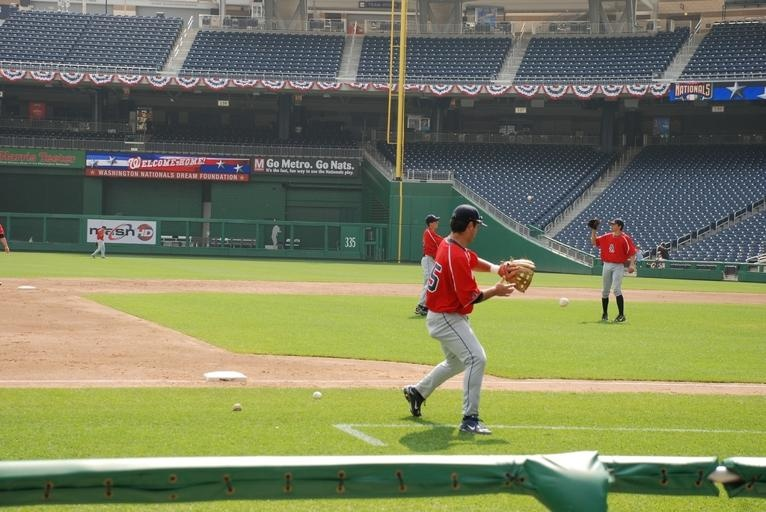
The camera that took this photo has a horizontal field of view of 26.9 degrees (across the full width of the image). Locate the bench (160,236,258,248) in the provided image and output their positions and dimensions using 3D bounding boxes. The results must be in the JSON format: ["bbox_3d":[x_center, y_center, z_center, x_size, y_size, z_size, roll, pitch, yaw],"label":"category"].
[{"bbox_3d":[-11.493,-0.970,102.724,6.103,0.702,0.574,-2,1,0],"label":"bench"}]

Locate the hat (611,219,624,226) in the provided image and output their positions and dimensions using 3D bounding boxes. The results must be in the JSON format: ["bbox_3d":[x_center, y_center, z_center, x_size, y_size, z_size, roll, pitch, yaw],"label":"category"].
[{"bbox_3d":[11.649,-1.694,79.525,0.521,0.433,1.128,2,10,5],"label":"hat"}]

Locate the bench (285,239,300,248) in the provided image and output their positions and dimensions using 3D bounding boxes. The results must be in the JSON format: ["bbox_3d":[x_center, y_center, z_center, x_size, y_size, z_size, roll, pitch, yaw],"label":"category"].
[{"bbox_3d":[-5.848,-0.851,104.113,0.760,0.583,0.670,0,-13,-3],"label":"bench"}]

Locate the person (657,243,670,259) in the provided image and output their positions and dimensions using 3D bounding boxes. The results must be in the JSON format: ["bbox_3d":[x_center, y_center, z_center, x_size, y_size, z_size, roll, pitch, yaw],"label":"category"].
[{"bbox_3d":[16.892,-0.308,96.413,0.652,0.818,1.171,3,10,7],"label":"person"}]
